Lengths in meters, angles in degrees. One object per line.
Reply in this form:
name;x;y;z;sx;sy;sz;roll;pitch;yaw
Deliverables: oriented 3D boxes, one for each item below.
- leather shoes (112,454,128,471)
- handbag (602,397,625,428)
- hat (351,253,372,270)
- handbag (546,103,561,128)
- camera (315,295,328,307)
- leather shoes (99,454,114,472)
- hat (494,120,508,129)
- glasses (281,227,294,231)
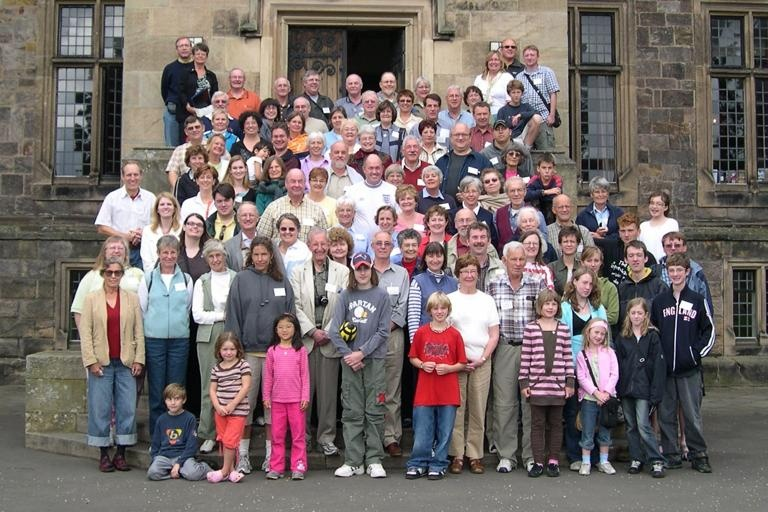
leather shoes;-3.826;3.018;21.113;0.251;0.233;0.143;-1;2;1
handbag;3.342;2.273;21.082;0.443;0.453;0.218;-2;2;-42
hat;-0.328;0.073;21.295;0.321;0.242;0.441;-1;2;0
handbag;3.036;-2.413;25.553;0.340;0.441;0.638;-2;24;8
camera;-0.919;0.667;21.321;0.191;0.166;0.134;3;-3;-4
leather shoes;-4.035;3.031;21.105;0.226;0.230;0.270;-1;2;-11
hat;1.952;-2.171;23.814;0.209;0.137;0.328;-2;14;10
glasses;-1.437;-0.389;21.599;0.189;0.068;0.035;-1;2;-1
